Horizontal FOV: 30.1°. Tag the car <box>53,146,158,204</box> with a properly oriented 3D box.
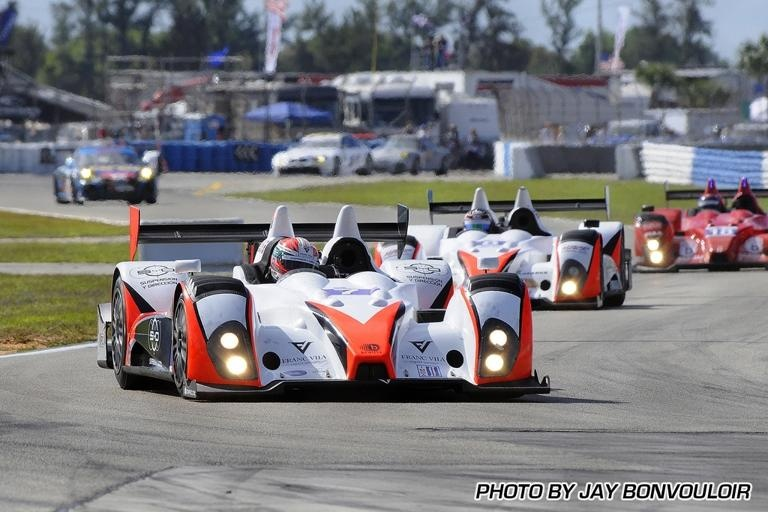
[{"bbox_3d":[-7.578,-2.197,38.972,2.728,1.577,1.989,-1,3,4],"label":"car"}]

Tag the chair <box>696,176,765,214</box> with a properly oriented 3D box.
[{"bbox_3d":[6.772,-1.194,28.341,0.697,0.409,1.122,-1,-2,7],"label":"chair"}]

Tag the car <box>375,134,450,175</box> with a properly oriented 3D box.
[{"bbox_3d":[0.658,-3.716,50.587,1.850,1.046,3.236,5,14,21],"label":"car"}]

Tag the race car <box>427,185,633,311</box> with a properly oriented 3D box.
[{"bbox_3d":[2.474,-0.111,23.880,3.198,1.511,4.669,-2,-1,7],"label":"race car"}]

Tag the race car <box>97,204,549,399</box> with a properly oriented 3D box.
[{"bbox_3d":[-0.972,0.480,17.551,4.927,2.196,3.850,-2,3,-14],"label":"race car"}]
